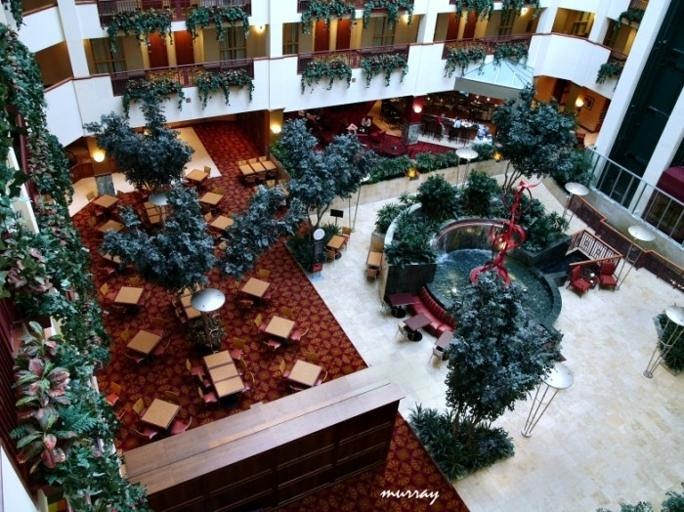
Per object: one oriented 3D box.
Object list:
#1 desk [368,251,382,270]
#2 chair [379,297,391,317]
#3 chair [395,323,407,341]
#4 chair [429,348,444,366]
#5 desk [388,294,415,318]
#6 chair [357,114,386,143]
[{"bbox_3d":[1.235,0.120,17.850,0.547,0.622,0.657,2,69,0],"label":"desk"},{"bbox_3d":[1.461,1.876,16.926,0.528,0.817,0.485,-2,67,-2],"label":"chair"},{"bbox_3d":[2.008,2.563,15.947,0.302,0.461,0.276,-21,59,-10],"label":"chair"},{"bbox_3d":[3.066,3.245,15.242,0.380,0.651,0.465,17,62,23],"label":"chair"},{"bbox_3d":[2.156,1.657,16.624,1.232,0.886,0.704,-1,57,-5],"label":"desk"},{"bbox_3d":[1.528,-6.966,25.464,1.385,0.875,3.181,3,37,1],"label":"chair"}]
